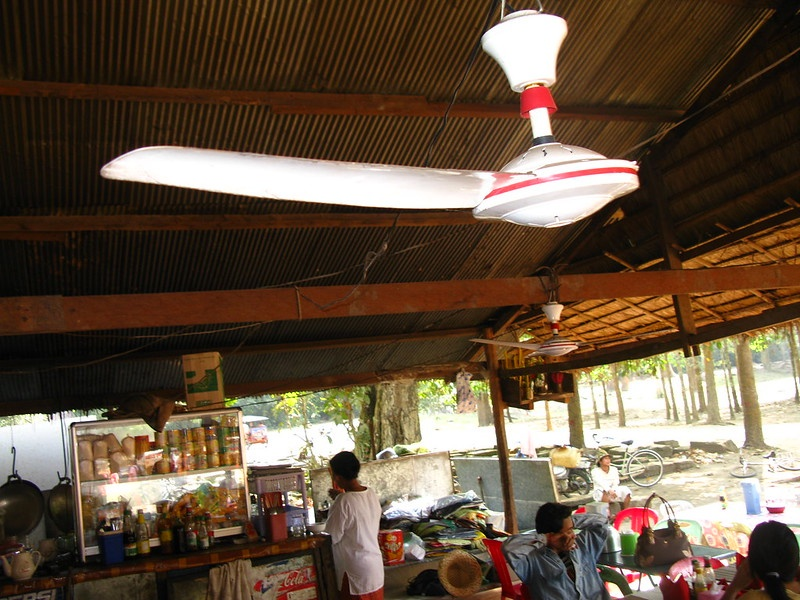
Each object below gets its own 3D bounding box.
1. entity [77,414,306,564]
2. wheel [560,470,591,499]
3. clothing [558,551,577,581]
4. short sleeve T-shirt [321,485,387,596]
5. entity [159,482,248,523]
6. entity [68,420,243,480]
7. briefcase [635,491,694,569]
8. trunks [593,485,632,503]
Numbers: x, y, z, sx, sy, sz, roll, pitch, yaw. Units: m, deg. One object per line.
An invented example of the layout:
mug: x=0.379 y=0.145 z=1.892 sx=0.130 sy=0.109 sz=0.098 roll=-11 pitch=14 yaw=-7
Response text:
entity: x=-1.894 y=1.703 z=5.295 sx=1.971 sy=1.054 sz=0.566 roll=-1 pitch=-21 yaw=-21
wheel: x=4.044 y=4.107 z=13.500 sx=0.929 sy=0.378 sz=0.420 roll=-1 pitch=-10 yaw=18
clothing: x=1.341 y=2.100 z=4.727 sx=0.156 sy=0.169 sz=0.060 roll=-7 pitch=-13 yaw=-39
short sleeve T-shirt: x=-0.365 y=2.070 z=5.138 sx=0.473 sy=0.868 sz=0.443 roll=-7 pitch=-15 yaw=-2
entity: x=-1.741 y=1.809 z=5.374 sx=0.709 sy=0.143 sz=0.386 roll=0 pitch=-6 yaw=-3
entity: x=-1.980 y=1.367 z=5.579 sx=1.856 sy=0.436 sz=0.464 roll=-11 pitch=-18 yaw=18
briefcase: x=2.268 y=2.098 z=5.167 sx=0.467 sy=0.386 sz=0.339 roll=-9 pitch=-14 yaw=13
trunks: x=3.104 y=2.838 z=8.726 sx=0.534 sy=0.158 sz=0.509 roll=2 pitch=-10 yaw=-16
